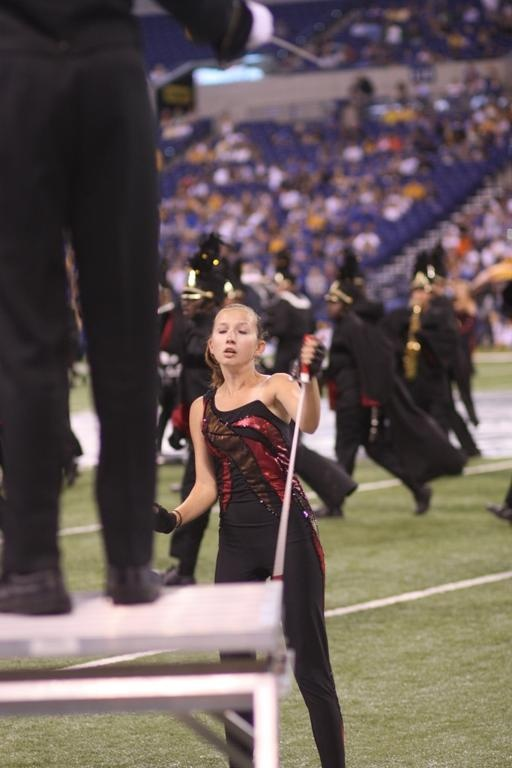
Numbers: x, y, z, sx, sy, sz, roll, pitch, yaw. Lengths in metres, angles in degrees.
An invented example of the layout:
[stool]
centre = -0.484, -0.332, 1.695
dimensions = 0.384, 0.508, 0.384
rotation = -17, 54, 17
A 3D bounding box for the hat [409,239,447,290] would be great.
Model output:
[hat]
centre = 1.712, -1.078, 9.927
dimensions = 0.425, 0.442, 1.203
rotation = 1, -10, 9
